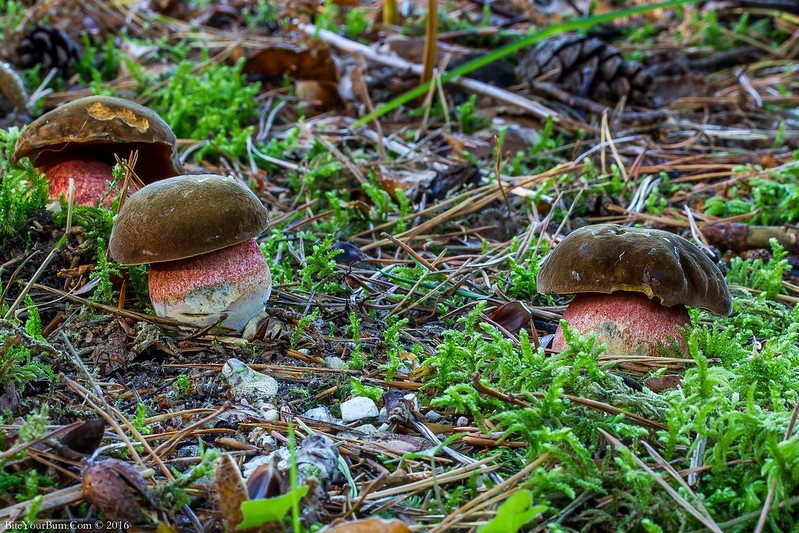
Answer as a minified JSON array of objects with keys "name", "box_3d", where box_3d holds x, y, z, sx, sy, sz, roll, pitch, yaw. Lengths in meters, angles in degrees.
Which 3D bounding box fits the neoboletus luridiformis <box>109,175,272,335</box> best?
[{"name":"neoboletus luridiformis","box_3d":[-1.099,-0.053,3.666,0.796,0.726,0.542,-2,44,-7]}]
